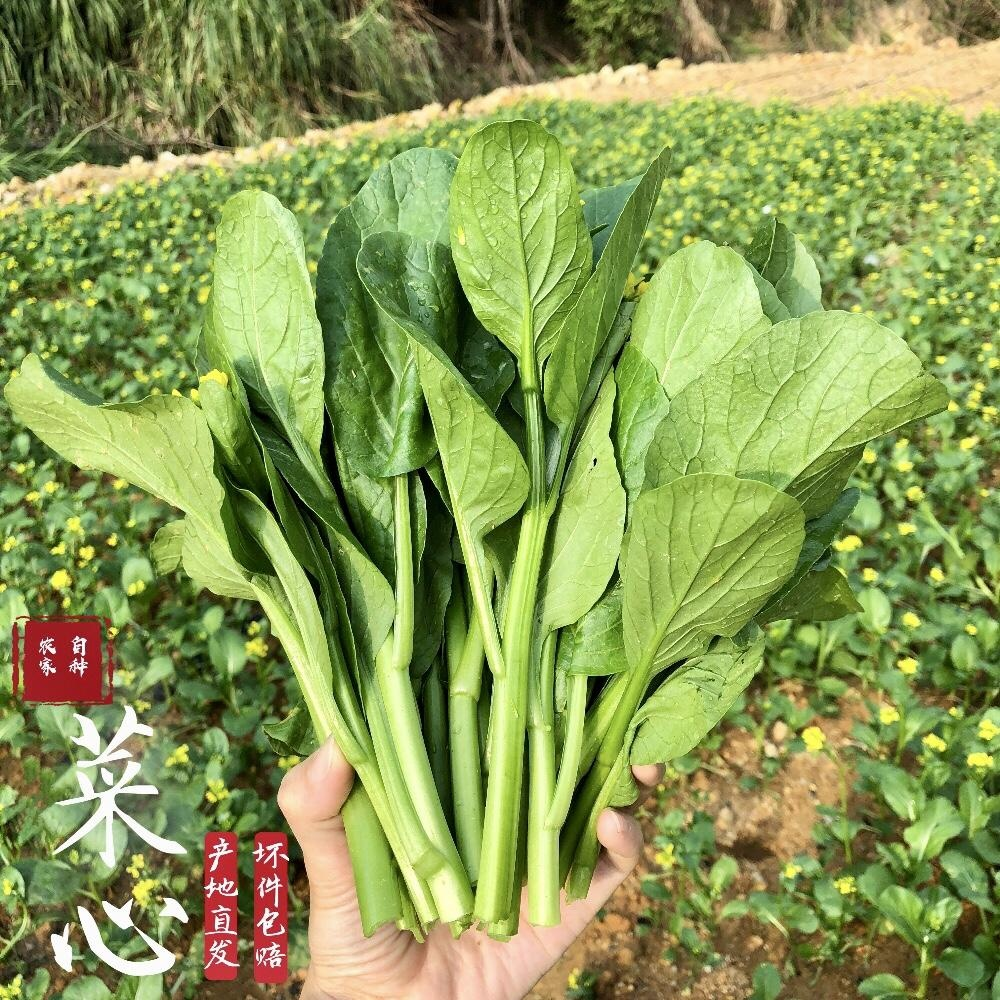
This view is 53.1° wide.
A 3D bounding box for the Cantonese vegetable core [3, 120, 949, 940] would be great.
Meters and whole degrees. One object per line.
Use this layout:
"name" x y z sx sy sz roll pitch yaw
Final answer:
"Cantonese vegetable core" 0.000 0.047 2.120 1.593 1.562 0.909 -7 27 -3
